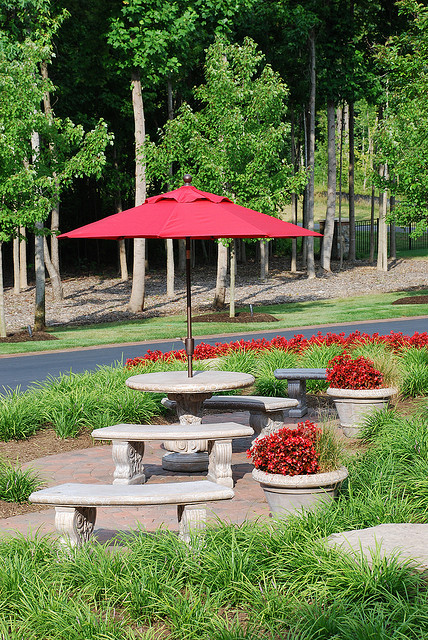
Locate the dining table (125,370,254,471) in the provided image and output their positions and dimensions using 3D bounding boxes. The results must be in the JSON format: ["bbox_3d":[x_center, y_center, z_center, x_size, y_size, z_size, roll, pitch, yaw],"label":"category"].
[{"bbox_3d":[-0.213,0.875,11.032,0.975,0.761,1.030,1,7,12],"label":"dining table"}]

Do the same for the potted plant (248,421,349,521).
[{"bbox_3d":[0.713,1.229,8.703,0.798,0.737,0.982,-3,6,-16],"label":"potted plant"}]

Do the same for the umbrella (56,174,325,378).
[{"bbox_3d":[-0.232,-0.491,11.297,2.370,2.001,2.510,-1,7,5],"label":"umbrella"}]

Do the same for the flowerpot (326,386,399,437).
[{"bbox_3d":[1.538,0.911,11.513,0.547,0.408,0.541,0,-5,-2],"label":"flowerpot"}]

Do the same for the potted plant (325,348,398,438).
[{"bbox_3d":[1.594,0.789,11.755,0.783,0.950,0.797,-5,-7,41],"label":"potted plant"}]
